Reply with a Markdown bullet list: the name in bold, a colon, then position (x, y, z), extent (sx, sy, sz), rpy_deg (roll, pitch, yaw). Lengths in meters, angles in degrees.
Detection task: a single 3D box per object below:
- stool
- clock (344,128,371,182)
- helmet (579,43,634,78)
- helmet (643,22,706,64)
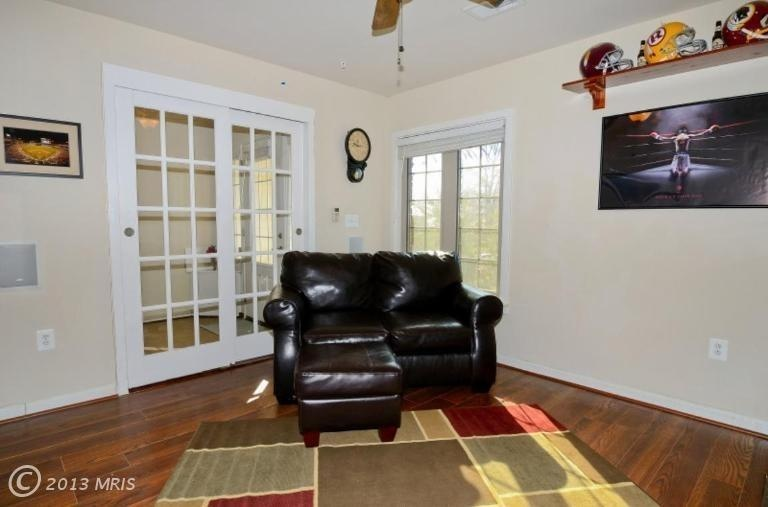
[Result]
- **stool**: position (-0.284, 1.032, 3.658), extent (0.729, 0.515, 0.698), rpy_deg (0, -5, -9)
- **clock**: position (-0.282, -1.096, 5.377), extent (0.134, 0.589, 0.406), rpy_deg (0, 5, 39)
- **helmet**: position (1.863, -1.615, 3.966), extent (0.438, 0.252, 0.310), rpy_deg (1, 16, 36)
- **helmet**: position (2.258, -1.647, 3.727), extent (0.337, 0.271, 0.458), rpy_deg (-14, 13, -29)
